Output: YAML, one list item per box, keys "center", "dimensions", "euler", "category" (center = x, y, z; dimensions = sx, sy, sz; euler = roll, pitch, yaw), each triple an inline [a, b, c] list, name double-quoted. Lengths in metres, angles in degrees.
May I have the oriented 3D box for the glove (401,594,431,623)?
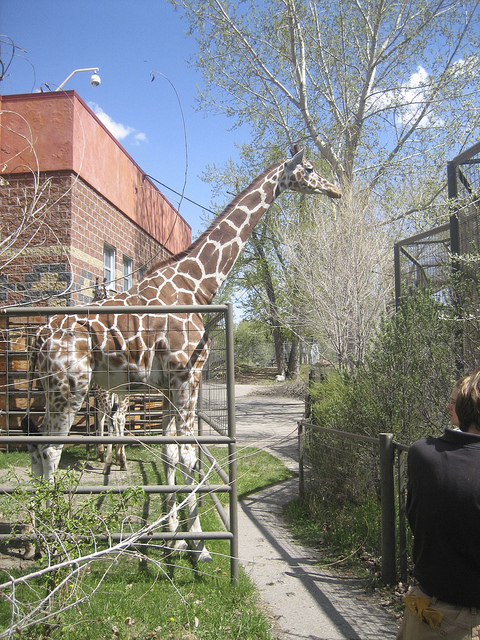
- center: [0.725, 1.190, 2.506]
  dimensions: [0.103, 0.084, 0.048]
  euler: [0, -5, 38]
  category: "glove"

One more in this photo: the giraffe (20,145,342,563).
- center: [-0.588, -0.065, 5.802]
  dimensions: [1.331, 3.922, 3.262]
  euler: [1, -5, 22]
  category: "giraffe"

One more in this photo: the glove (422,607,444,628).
- center: [0.778, 1.204, 2.456]
  dimensions: [0.033, 0.061, 0.075]
  euler: [-31, 23, -23]
  category: "glove"
